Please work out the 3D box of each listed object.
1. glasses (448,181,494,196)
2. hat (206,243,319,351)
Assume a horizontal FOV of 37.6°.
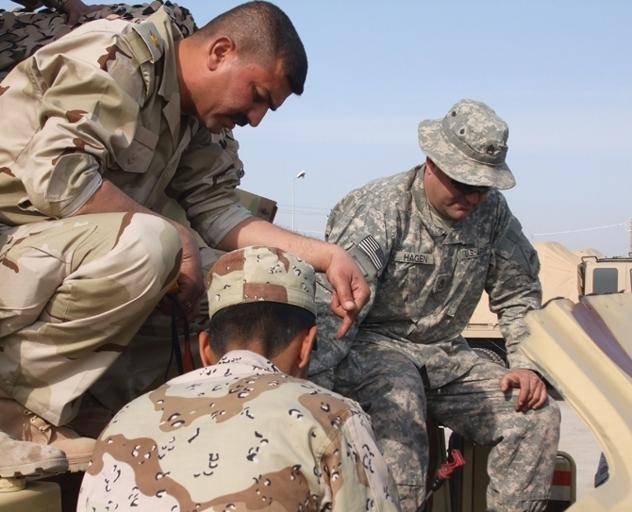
[{"bbox_3d":[0.818,-0.360,4.949,0.110,0.033,0.107,14,5,-26],"label":"glasses"},{"bbox_3d":[-0.197,0.106,3.413,0.410,0.260,0.441,3,-17,-13],"label":"hat"}]
